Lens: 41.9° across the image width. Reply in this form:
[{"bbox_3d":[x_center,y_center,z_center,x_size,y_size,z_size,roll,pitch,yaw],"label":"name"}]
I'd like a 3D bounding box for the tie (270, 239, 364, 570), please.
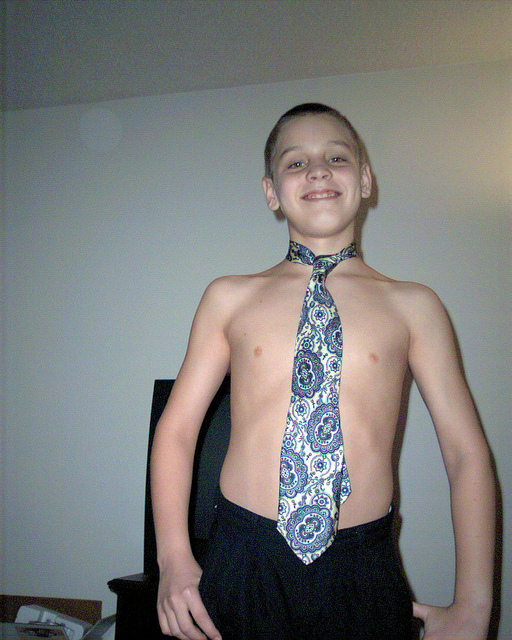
[{"bbox_3d":[0.128,0.150,1.434,0.181,0.706,0.212,-2,-9,8],"label":"tie"}]
